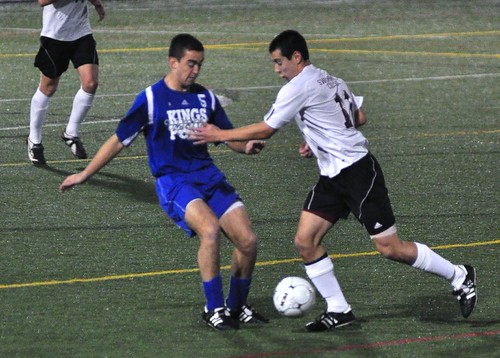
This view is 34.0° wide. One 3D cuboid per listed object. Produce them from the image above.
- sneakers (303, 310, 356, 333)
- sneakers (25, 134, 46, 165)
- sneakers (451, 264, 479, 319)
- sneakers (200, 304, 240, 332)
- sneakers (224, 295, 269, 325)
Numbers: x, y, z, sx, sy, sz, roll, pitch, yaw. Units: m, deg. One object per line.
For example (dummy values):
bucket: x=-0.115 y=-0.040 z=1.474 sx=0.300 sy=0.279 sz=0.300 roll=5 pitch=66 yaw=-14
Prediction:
sneakers: x=0.734 y=1.301 z=7.561 sx=0.542 sy=0.152 sz=0.171 roll=-8 pitch=4 yaw=-7
sneakers: x=-2.700 y=-0.349 z=10.228 sx=0.170 sy=0.181 sz=0.424 roll=-4 pitch=39 yaw=-35
sneakers: x=2.031 y=1.046 z=7.612 sx=0.259 sy=0.473 sz=0.197 roll=3 pitch=-11 yaw=-21
sneakers: x=-0.281 y=1.257 z=7.444 sx=0.330 sy=0.122 sz=0.191 roll=11 pitch=13 yaw=35
sneakers: x=-0.028 y=1.252 z=7.648 sx=0.509 sy=0.166 sz=0.150 roll=3 pitch=-3 yaw=-1
